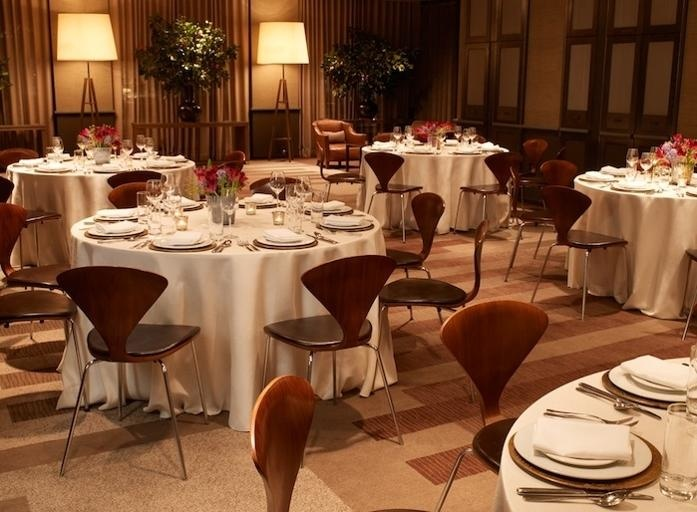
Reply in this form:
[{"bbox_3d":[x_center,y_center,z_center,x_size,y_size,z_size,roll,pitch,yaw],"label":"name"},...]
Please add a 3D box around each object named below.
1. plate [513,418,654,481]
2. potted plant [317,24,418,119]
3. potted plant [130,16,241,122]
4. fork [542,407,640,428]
[{"bbox_3d":[0.599,0.502,1.393,0.338,0.034,0.202,2,13,14],"label":"plate"},{"bbox_3d":[0.416,-4.135,12.327,1.998,1.991,0.814,-2,13,-2],"label":"potted plant"},{"bbox_3d":[-2.946,-3.428,10.125,1.502,1.817,1.254,8,8,23],"label":"potted plant"},{"bbox_3d":[0.694,0.462,1.559,0.207,0.028,0.025,5,35,11],"label":"fork"}]
